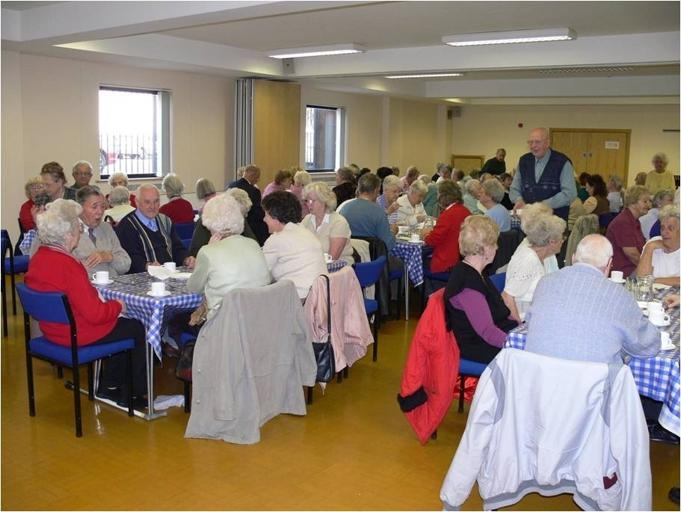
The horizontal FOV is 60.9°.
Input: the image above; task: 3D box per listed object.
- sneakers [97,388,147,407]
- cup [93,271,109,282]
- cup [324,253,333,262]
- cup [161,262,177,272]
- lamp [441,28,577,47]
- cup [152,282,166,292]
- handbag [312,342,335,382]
[{"bbox_3d":[-1.502,0.981,4.004,0.230,0.097,0.073,21,13,18],"label":"sneakers"},{"bbox_3d":[-1.625,0.137,3.919,0.090,0.067,0.070,-2,11,-11],"label":"cup"},{"bbox_3d":[-0.097,0.021,4.802,0.048,0.051,0.064,0,0,13],"label":"cup"},{"bbox_3d":[-1.246,0.082,4.186,0.088,0.065,0.061,-1,0,6],"label":"cup"},{"bbox_3d":[2.066,-2.675,7.113,1.495,0.125,0.378,9,14,28],"label":"lamp"},{"bbox_3d":[-1.154,0.197,3.669,0.062,0.048,0.064,1,5,0],"label":"cup"},{"bbox_3d":[-0.122,0.707,3.871,0.110,0.247,0.233,-1,-5,-39],"label":"handbag"}]
